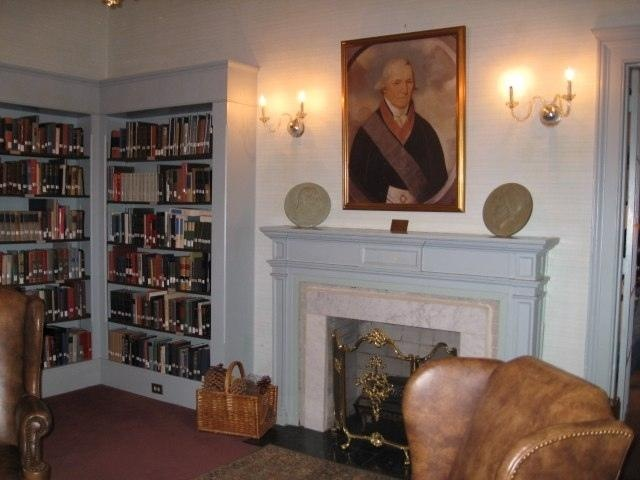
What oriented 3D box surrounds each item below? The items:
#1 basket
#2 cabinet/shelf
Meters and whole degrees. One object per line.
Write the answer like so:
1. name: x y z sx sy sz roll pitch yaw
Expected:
1. basket: -0.661 1.298 4.634 0.592 0.603 0.615 1 -1 26
2. cabinet/shelf: -1.719 -0.069 4.956 2.837 2.866 1.612 5 5 29
